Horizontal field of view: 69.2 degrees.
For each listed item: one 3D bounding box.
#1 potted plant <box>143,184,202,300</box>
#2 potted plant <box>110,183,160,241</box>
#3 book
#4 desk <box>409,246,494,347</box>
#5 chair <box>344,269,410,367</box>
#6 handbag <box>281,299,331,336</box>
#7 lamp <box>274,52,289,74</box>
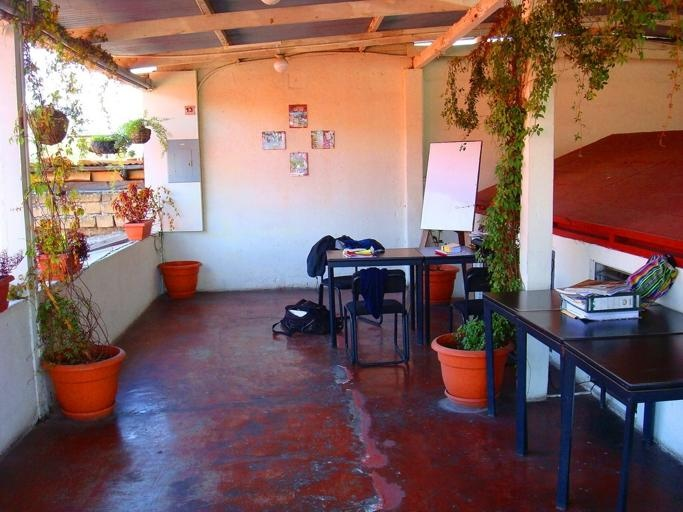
[{"bbox_3d":[-2.812,-0.243,8.346,0.687,1.840,0.819,-6,12,-23],"label":"potted plant"},{"bbox_3d":[-3.259,-0.702,7.747,0.603,0.857,0.860,-6,12,-21],"label":"potted plant"},{"bbox_3d":[1.779,0.314,3.419,0.318,0.120,0.311,-2,8,-12],"label":"book"},{"bbox_3d":[1.285,0.566,6.518,0.956,1.332,1.303,-1,8,-4],"label":"desk"},{"bbox_3d":[0.397,0.751,5.729,0.763,1.315,0.855,-2,17,-6],"label":"chair"},{"bbox_3d":[-0.498,0.824,6.618,0.642,0.308,0.511,-2,11,-5],"label":"handbag"},{"bbox_3d":[-0.963,-3.050,7.782,0.180,0.271,0.312,-2,11,-2],"label":"lamp"}]
